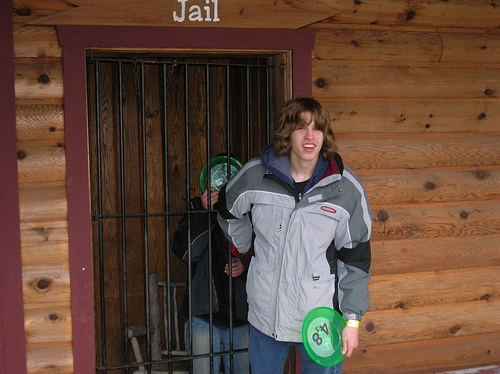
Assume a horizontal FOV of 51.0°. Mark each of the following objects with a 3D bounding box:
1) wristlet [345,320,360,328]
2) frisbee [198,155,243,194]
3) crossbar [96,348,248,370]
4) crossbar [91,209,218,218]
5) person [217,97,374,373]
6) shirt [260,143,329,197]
[{"bbox_3d":[0.620,0.831,3.169,0.056,0.033,0.053,7,-5,-17],"label":"wristlet"},{"bbox_3d":[-0.228,-0.107,4.002,0.324,0.287,0.237,-1,-8,-5],"label":"frisbee"},{"bbox_3d":[-0.584,1.298,3.955,1.091,0.118,0.366,0,-8,-12],"label":"crossbar"},{"bbox_3d":[-0.702,0.203,3.819,0.877,0.051,0.295,0,-8,-16],"label":"crossbar"},{"bbox_3d":[0.269,0.323,3.354,0.913,1.724,0.352,-7,-9,30],"label":"person"},{"bbox_3d":[0.276,-0.117,3.337,0.439,0.375,0.169,-4,-8,14],"label":"shirt"}]
